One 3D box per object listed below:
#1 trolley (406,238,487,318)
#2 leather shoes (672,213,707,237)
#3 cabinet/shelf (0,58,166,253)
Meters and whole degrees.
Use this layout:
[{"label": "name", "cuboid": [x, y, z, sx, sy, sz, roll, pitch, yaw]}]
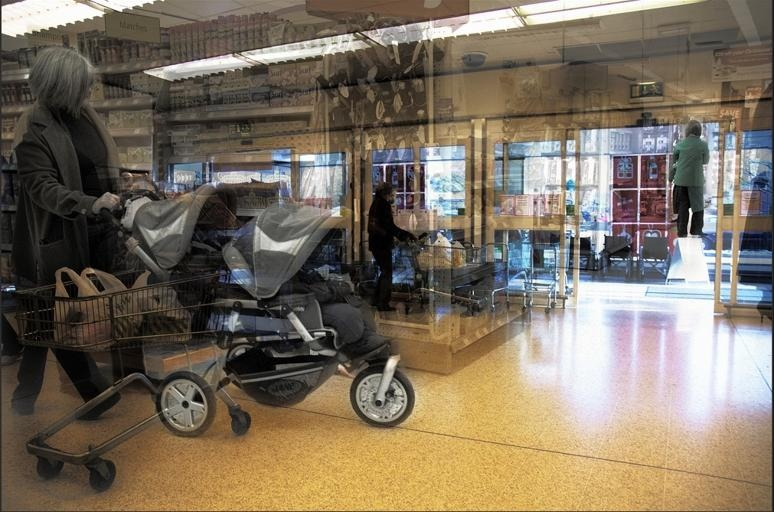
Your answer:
[{"label": "trolley", "cuboid": [0.392, 0.171, 3.596, 0.570, 0.374, 0.376, -15, -6, -33]}, {"label": "leather shoes", "cuboid": [1.533, -0.151, 2.716, 0.112, 0.136, 0.051, 1, -10, 6]}, {"label": "cabinet/shelf", "cuboid": [-1.932, -0.573, 3.212, 0.546, 1.332, 0.606, 23, 33, 1]}]
